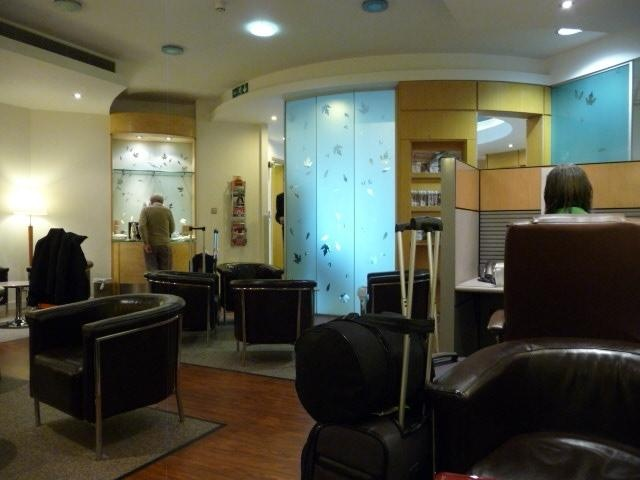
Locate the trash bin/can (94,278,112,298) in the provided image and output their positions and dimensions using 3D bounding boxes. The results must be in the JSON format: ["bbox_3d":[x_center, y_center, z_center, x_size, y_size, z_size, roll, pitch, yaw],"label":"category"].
[{"bbox_3d":[-1.447,0.314,3.380,0.093,0.123,0.117,1,0,6],"label":"trash bin/can"}]

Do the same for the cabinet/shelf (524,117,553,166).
[{"bbox_3d":[2.874,-1.320,6.704,0.336,0.648,0.237,4,6,36],"label":"cabinet/shelf"}]

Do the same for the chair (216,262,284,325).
[{"bbox_3d":[-0.905,0.659,6.513,0.790,0.822,0.727,2,-6,-21],"label":"chair"}]

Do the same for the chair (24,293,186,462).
[{"bbox_3d":[-1.457,0.824,3.458,0.909,0.848,1.007,1,2,7],"label":"chair"}]

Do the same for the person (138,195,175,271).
[{"bbox_3d":[-2.208,-0.101,6.911,0.442,1.024,0.378,-1,5,-25],"label":"person"}]

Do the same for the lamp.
[{"bbox_3d":[-1.464,-0.098,2.573,0.152,0.439,0.121,-2,5,-30],"label":"lamp"}]

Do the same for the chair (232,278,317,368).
[{"bbox_3d":[-0.455,0.740,4.939,0.748,0.726,0.709,0,-2,0],"label":"chair"}]

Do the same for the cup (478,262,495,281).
[{"bbox_3d":[1.362,0.261,4.168,0.160,0.178,0.091,-2,5,-31],"label":"cup"}]

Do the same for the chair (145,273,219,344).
[{"bbox_3d":[-1.376,0.666,5.259,0.675,0.659,0.620,0,1,-6],"label":"chair"}]

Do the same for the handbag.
[{"bbox_3d":[0.183,0.541,2.284,0.472,0.433,0.514,-3,-5,38],"label":"handbag"}]
